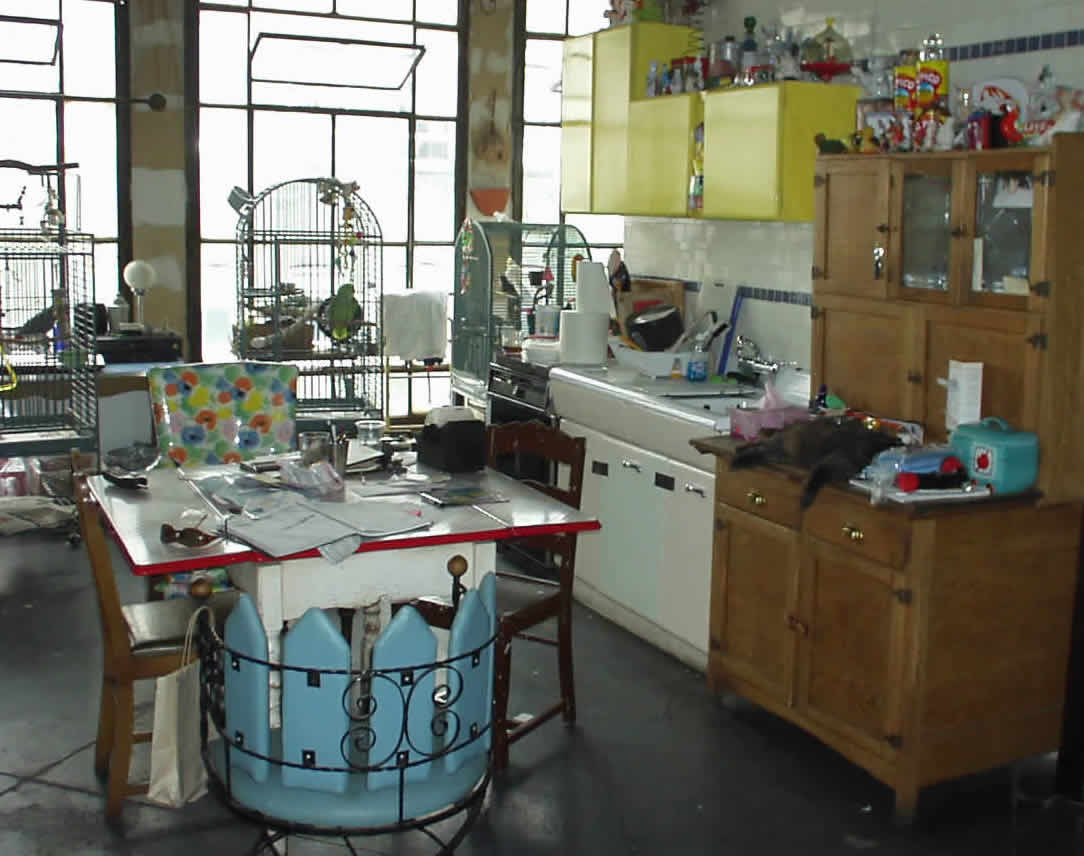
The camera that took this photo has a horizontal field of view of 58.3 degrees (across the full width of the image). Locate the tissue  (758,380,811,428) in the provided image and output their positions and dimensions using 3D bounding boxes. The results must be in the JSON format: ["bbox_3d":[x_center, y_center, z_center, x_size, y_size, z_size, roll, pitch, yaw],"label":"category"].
[{"bbox_3d":[0.859,-0.089,3.509,0.143,0.079,0.183,-3,13,-16],"label":"tissue "}]

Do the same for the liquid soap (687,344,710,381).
[{"bbox_3d":[0.732,-0.285,4.530,0.110,0.225,0.131,1,9,-2],"label":"liquid soap"}]

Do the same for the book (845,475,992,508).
[{"bbox_3d":[1.121,0.208,2.867,0.396,0.064,0.173,5,14,16],"label":"book"}]

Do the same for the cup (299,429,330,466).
[{"bbox_3d":[-0.748,0.077,3.255,0.097,0.083,0.079,0,8,10],"label":"cup"}]

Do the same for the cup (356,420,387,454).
[{"bbox_3d":[-0.633,0.045,3.643,0.100,0.118,0.106,1,9,0],"label":"cup"}]

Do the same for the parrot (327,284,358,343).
[{"bbox_3d":[-0.832,-0.451,4.083,0.137,0.054,0.469,7,-19,-14],"label":"parrot"}]

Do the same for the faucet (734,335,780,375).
[{"bbox_3d":[0.982,-0.312,4.458,0.177,0.217,0.123,4,11,28],"label":"faucet"}]

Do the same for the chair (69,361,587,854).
[{"bbox_3d":[-0.503,0.431,2.610,1.043,0.771,1.223,-4,13,-21],"label":"chair"}]

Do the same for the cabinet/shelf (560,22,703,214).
[{"bbox_3d":[0.472,-1.495,4.805,0.310,0.996,1.013,-1,6,-20],"label":"cabinet/shelf"}]
